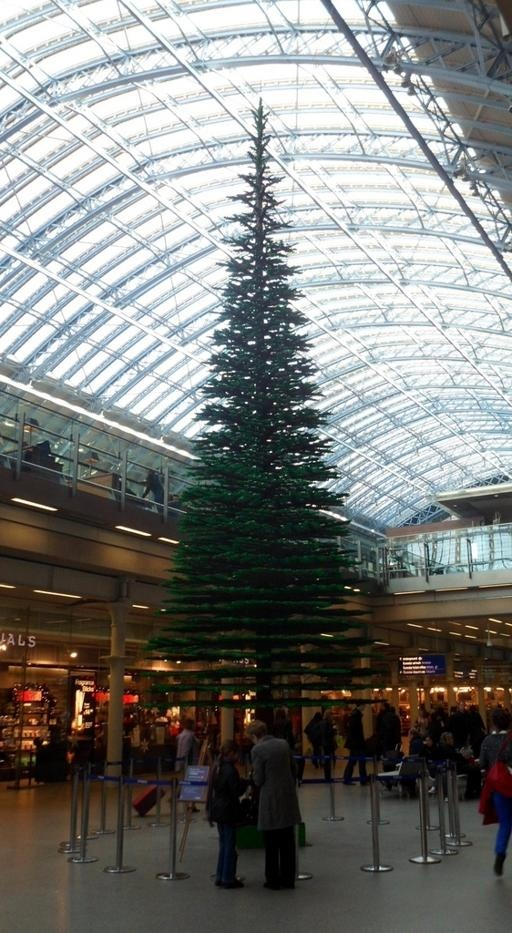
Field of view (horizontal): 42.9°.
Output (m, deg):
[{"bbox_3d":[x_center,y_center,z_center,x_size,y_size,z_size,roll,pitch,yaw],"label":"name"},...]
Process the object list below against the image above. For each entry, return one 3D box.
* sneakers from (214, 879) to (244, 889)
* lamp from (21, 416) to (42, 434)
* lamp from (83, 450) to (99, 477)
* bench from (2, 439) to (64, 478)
[{"bbox_3d":[-0.234,3.631,5.674,0.244,0.060,0.150,-1,-13,0],"label":"sneakers"},{"bbox_3d":[-4.638,-0.822,13.409,0.316,0.307,0.277,13,-20,-30],"label":"lamp"},{"bbox_3d":[-3.781,-0.035,14.940,0.145,0.608,0.403,-8,-15,29],"label":"lamp"},{"bbox_3d":[-4.556,-0.119,13.429,0.666,0.910,0.895,25,-8,9],"label":"bench"}]
